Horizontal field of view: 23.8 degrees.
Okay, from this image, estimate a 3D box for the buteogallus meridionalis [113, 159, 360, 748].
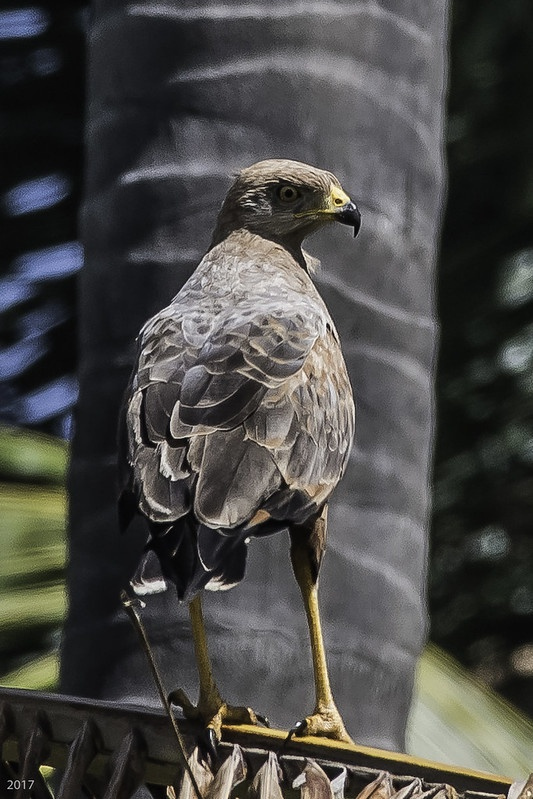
[{"bbox_3d":[-0.043,0.058,2.257,0.424,0.975,0.624,4,8,-5],"label":"buteogallus meridionalis"}]
